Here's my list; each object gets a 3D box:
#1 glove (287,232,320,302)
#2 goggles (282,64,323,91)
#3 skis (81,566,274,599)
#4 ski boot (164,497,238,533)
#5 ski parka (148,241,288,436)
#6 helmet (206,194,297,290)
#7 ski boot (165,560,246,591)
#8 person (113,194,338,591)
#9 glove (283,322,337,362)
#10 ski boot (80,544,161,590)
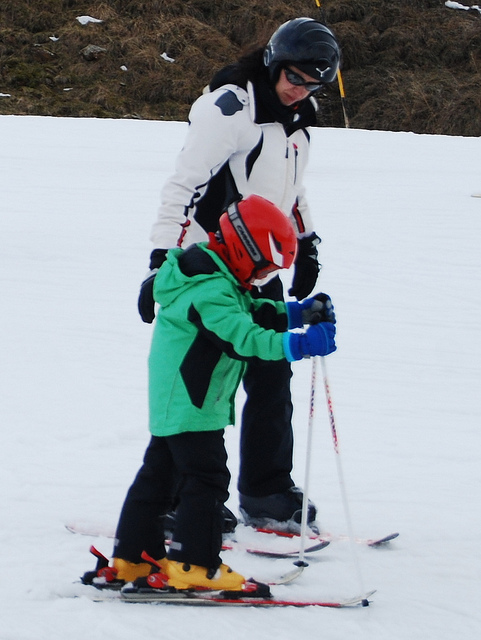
[{"bbox_3d":[0.308,-0.263,4.080,0.130,0.286,0.242,23,2,17],"label":"glove"},{"bbox_3d":[0.252,-1.006,3.486,0.180,0.092,0.072,0,9,-9],"label":"goggles"},{"bbox_3d":[-0.267,1.003,3.215,0.673,0.050,0.149,2,-8,2],"label":"skis"},{"bbox_3d":[-0.133,0.843,3.700,0.413,0.116,0.225,-1,-2,-2],"label":"ski boot"},{"bbox_3d":[-0.113,0.084,3.251,0.430,0.740,0.470,-1,10,-16],"label":"ski parka"},{"bbox_3d":[0.116,-0.307,3.431,0.427,0.330,0.291,27,1,-6],"label":"helmet"},{"bbox_3d":[-0.134,0.976,3.263,0.364,0.130,0.105,1,-4,-11],"label":"ski boot"},{"bbox_3d":[-0.103,0.275,3.351,0.837,1.561,0.658,-2,11,-21],"label":"person"},{"bbox_3d":[0.253,0.079,3.145,0.229,0.109,0.071,-2,52,-12],"label":"glove"},{"bbox_3d":[-0.479,0.950,3.246,0.261,0.154,0.100,0,10,-9],"label":"ski boot"}]
